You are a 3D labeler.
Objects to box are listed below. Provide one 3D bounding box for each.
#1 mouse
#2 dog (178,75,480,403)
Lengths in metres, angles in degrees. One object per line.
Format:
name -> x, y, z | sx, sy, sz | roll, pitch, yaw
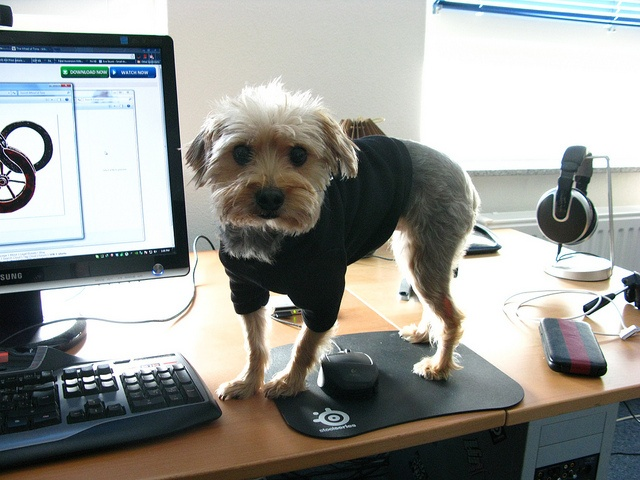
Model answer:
mouse -> 0.068, 0.339, 1.303 | 0.147, 0.074, 0.124 | -5, 12, -6
dog -> 0.073, 0.025, 1.577 | 0.502, 0.851, 1.127 | 10, 11, 39
